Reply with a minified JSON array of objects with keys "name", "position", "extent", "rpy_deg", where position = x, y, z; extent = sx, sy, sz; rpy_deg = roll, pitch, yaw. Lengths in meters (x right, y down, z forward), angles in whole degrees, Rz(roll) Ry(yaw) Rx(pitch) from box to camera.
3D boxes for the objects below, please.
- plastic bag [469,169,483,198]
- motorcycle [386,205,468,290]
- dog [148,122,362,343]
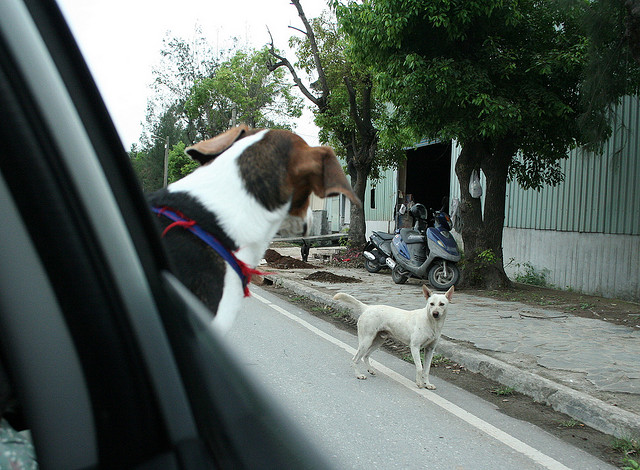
[{"name":"plastic bag","position":[3.979,-1.306,12.352],"extent":[0.278,0.692,0.514],"rpy_deg":[2,3,16]},{"name":"motorcycle","position":[2.540,0.325,12.437],"extent":[1.092,2.071,2.514],"rpy_deg":[13,-6,-30]},{"name":"dog","position":[-0.327,-0.111,1.756],"extent":[1.006,0.688,0.545],"rpy_deg":[6,-9,44]}]
